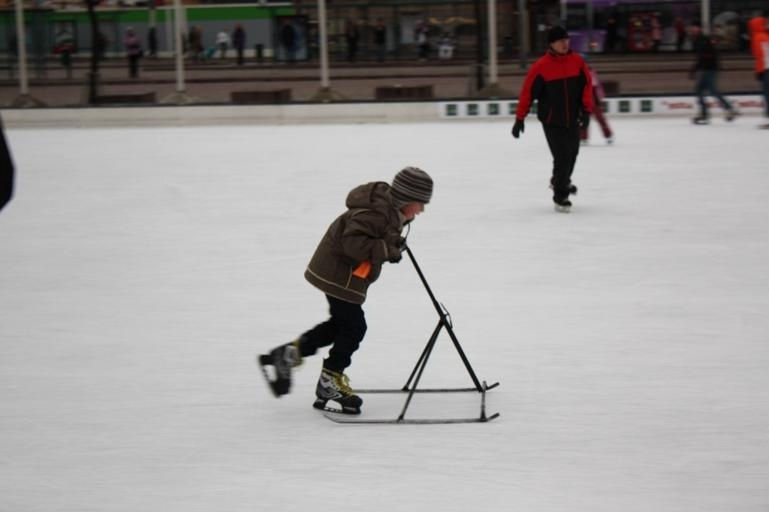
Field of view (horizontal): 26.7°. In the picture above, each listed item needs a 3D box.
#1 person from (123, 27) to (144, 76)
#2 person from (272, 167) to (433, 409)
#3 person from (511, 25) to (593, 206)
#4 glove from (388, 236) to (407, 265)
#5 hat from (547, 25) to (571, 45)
[{"bbox_3d":[-4.792,-3.774,30.634,0.333,0.936,0.207,0,11,0],"label":"person"},{"bbox_3d":[-0.347,0.344,15.133,1.533,2.300,0.349,0,11,-3],"label":"person"},{"bbox_3d":[1.984,-1.595,19.113,0.893,2.143,0.404,1,11,5],"label":"person"},{"bbox_3d":[0.105,-0.031,15.024,0.192,0.213,0.077,-1,0,-28],"label":"glove"},{"bbox_3d":[2.014,-2.546,18.938,0.261,0.177,0.237,-9,9,29],"label":"hat"}]
